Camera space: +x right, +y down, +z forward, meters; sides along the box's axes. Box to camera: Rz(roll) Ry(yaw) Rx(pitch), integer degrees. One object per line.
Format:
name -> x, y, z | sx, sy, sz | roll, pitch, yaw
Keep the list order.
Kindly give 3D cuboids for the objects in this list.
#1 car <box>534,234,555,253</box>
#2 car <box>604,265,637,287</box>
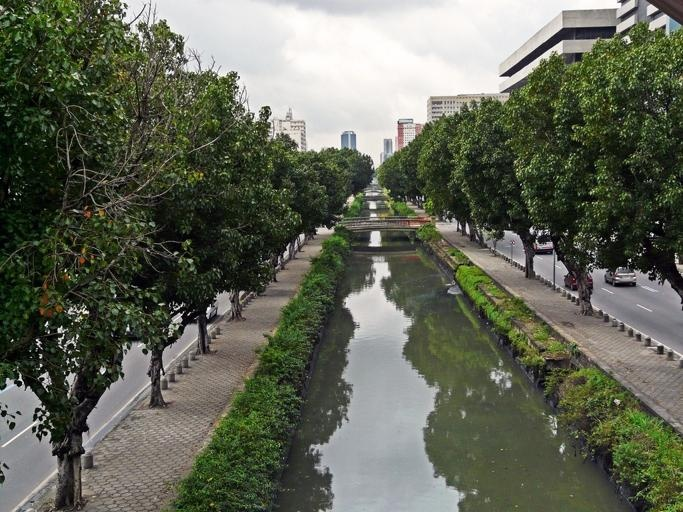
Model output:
car -> 14.512, -0.856, 43.999 | 1.013, 0.934, 2.469 | 0, 10, 7
car -> 14.198, 1.048, 31.132 | 0.785, 0.742, 1.952 | 0, 9, 11
